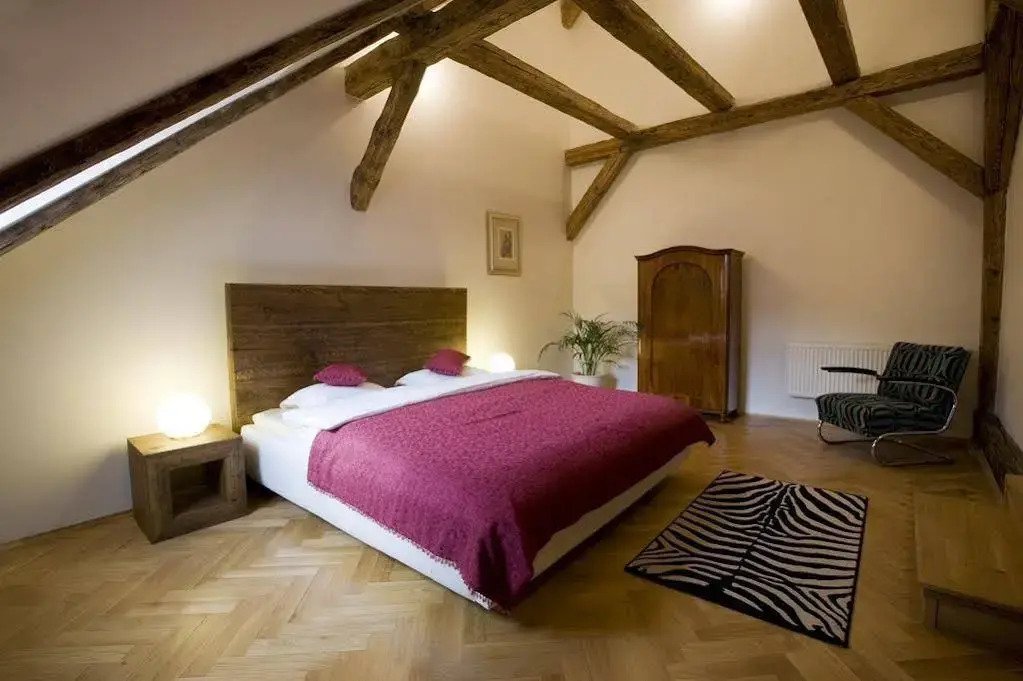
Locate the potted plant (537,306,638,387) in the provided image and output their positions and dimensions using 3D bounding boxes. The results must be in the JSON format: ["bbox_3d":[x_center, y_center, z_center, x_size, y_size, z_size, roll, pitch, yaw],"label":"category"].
[{"bbox_3d":[0.950,0.102,7.970,0.968,0.898,0.948,3,-3,-25],"label":"potted plant"}]

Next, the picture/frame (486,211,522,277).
[{"bbox_3d":[-0.102,-1.081,7.239,0.061,0.837,0.748,4,5,40],"label":"picture/frame"}]

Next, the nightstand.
[{"bbox_3d":[-2.317,1.021,4.857,0.752,0.783,0.881,0,2,40],"label":"nightstand"}]

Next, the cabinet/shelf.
[{"bbox_3d":[1.892,-0.085,6.980,1.091,1.754,0.580,0,0,43],"label":"cabinet/shelf"}]

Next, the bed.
[{"bbox_3d":[-0.565,0.625,4.938,2.696,1.537,2.725,9,13,38],"label":"bed"}]

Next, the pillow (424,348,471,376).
[{"bbox_3d":[-0.615,0.204,6.115,0.243,0.115,0.396,18,14,8],"label":"pillow"}]
